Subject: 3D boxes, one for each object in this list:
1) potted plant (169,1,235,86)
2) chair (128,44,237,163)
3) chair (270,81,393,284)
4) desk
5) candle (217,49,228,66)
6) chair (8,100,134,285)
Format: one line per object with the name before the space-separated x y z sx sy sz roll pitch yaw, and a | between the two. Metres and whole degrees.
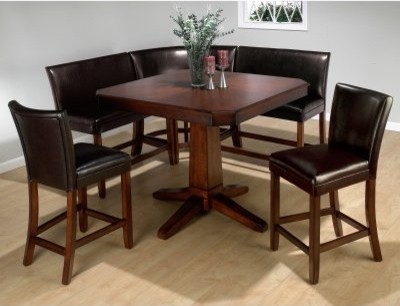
potted plant | 0.002 -0.757 2.359 0.334 0.533 0.329 -7 25 -2
chair | -0.270 -0.611 4.089 1.389 1.446 1.291 3 8 27
chair | 0.761 0.161 1.891 0.641 1.002 0.535 -17 27 -21
desk | -0.068 -0.020 2.698 1.412 1.126 1.412 12 22 38
candle | 0.201 -0.719 2.453 0.116 0.117 0.108 -2 17 -10
chair | -0.810 0.197 1.959 0.536 1.028 0.598 10 30 29
